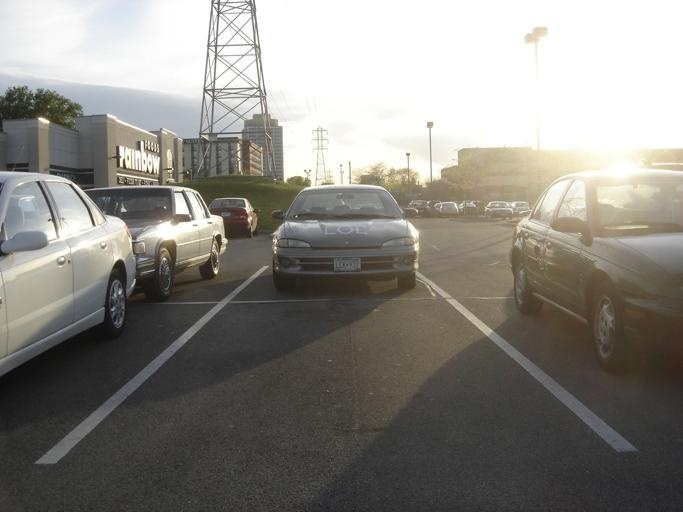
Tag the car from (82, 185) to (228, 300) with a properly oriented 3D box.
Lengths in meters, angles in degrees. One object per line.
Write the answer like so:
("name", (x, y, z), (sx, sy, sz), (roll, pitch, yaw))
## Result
("car", (-3.441, -0.405, 9.868), (1.486, 1.293, 3.097), (0, 2, 9))
